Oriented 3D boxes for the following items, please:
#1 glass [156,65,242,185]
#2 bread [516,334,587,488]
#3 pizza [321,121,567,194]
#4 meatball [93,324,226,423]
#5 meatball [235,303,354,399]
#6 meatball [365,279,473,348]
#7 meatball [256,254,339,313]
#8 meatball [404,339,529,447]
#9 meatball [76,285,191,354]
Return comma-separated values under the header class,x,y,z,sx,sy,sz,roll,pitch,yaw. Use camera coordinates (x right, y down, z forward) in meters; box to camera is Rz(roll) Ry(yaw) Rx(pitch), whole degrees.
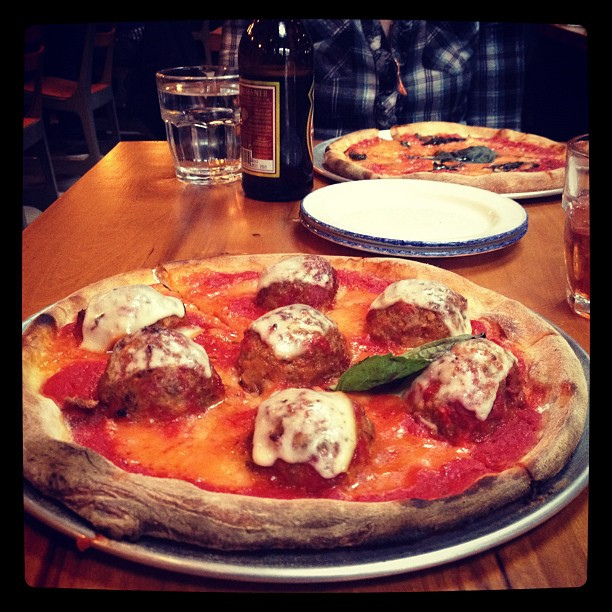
class,x,y,z,sx,sy,sz,roll,pitch,yaw
glass,-0.464,-0.787,2.512,0.351,0.427,0.291,-6,29,-8
bread,0.418,0.167,1.110,0.191,0.041,0.400,-9,35,20
pizza,0.735,-0.765,2.922,1.420,0.401,1.046,-3,20,-8
meatball,-0.269,0.132,1.023,0.178,0.115,0.176,-3,25,-16
meatball,-0.029,0.060,1.220,0.278,0.101,0.306,11,31,29
meatball,0.259,-0.018,1.370,0.218,0.156,0.274,5,14,14
meatball,-0.033,-0.089,1.456,0.208,0.136,0.235,-6,18,-18
meatball,0.306,0.134,1.061,0.196,0.083,0.244,16,41,32
meatball,-0.405,0.011,1.291,0.275,0.096,0.239,-4,23,-2
